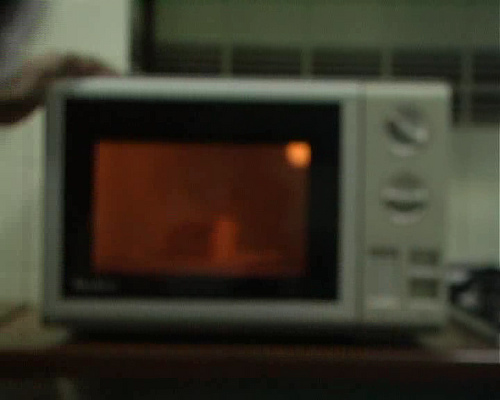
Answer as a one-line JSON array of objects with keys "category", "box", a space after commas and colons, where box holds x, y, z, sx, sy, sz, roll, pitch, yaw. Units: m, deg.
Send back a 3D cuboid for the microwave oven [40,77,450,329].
[{"category": "microwave oven", "box": [0.010, 0.014, 1.228, 0.684, 0.399, 0.371, 0, -2, 4]}]
